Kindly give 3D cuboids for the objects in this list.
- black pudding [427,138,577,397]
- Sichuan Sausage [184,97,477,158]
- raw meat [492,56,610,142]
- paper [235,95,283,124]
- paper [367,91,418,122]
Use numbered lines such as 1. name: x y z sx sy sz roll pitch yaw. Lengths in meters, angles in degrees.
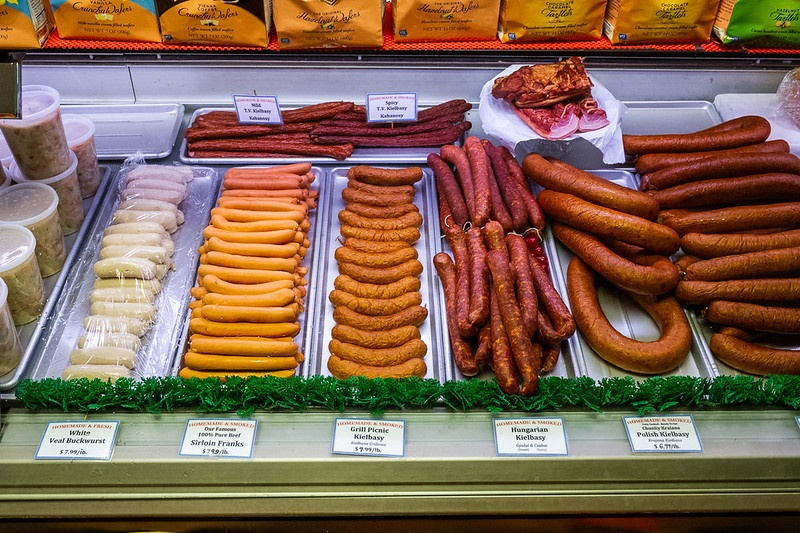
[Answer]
1. black pudding: 0.571 -0.110 3.120 0.733 1.488 0.976 -4 0 3
2. Sichuan Sausage: -0.601 -0.887 3.931 2.280 0.340 0.656 0 37 -1
3. raw meat: 1.005 -1.126 3.547 0.735 0.575 0.237 -4 0 -4
4. paper: -1.008 -1.109 3.744 0.322 0.030 0.200 3 -40 -3
5. paper: -0.059 -1.123 3.742 0.347 0.196 0.186 -4 0 -5
